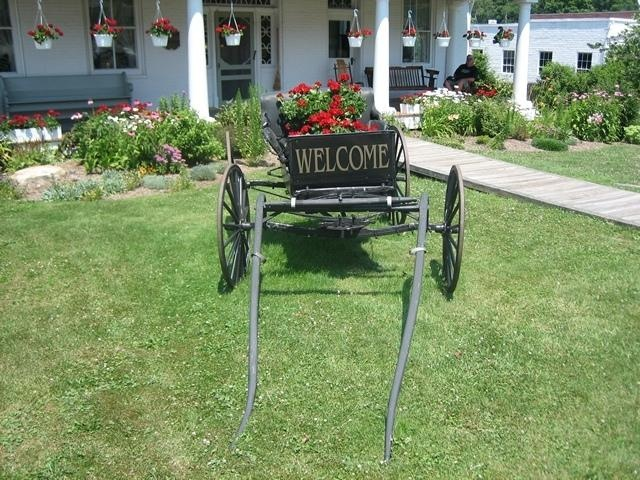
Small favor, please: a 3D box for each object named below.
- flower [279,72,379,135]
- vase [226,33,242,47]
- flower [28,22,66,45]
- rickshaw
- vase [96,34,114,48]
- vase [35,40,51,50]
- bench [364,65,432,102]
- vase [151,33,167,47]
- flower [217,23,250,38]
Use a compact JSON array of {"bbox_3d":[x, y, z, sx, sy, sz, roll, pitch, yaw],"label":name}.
[{"bbox_3d":[0.011,-1.515,6.182,1.121,0.830,0.809,-3,23,-13],"label":"flower"},{"bbox_3d":[-1.789,-4.105,11.156,0.301,0.213,0.275,-6,18,-13],"label":"vase"},{"bbox_3d":[-5.172,-3.900,10.501,0.616,0.404,0.711,5,25,8],"label":"flower"},{"bbox_3d":[0.218,-0.182,5.480,2.469,2.347,3.810,-5,18,-11],"label":"rickshaw"},{"bbox_3d":[-4.120,-3.790,10.345,0.317,0.243,0.357,0,20,-4],"label":"vase"},{"bbox_3d":[-5.310,-3.744,10.468,0.237,0.175,0.254,-3,16,-23],"label":"vase"},{"bbox_3d":[2.320,-4.240,15.314,1.923,1.182,1.258,-7,23,-26],"label":"bench"},{"bbox_3d":[-3.098,-3.906,10.739,0.355,0.296,0.380,-9,23,-23],"label":"vase"},{"bbox_3d":[-1.966,-4.676,12.154,0.807,0.359,0.881,-3,23,-18],"label":"flower"}]
